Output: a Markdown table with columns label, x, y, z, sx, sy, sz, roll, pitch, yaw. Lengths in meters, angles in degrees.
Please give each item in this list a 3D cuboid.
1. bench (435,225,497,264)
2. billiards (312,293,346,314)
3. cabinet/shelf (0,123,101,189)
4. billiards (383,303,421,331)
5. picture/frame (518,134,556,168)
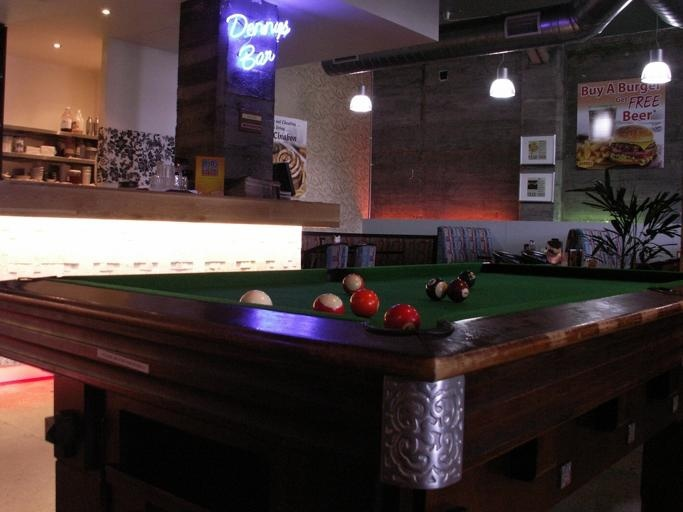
| label | x | y | z | sx | sy | sz | roll | pitch | yaw |
| --- | --- | --- | --- | --- | --- | --- | --- | --- | --- |
| bench | 1.950 | -0.211 | 7.626 | 0.212 | 0.569 | 1.133 | 15 | -3 | -23 |
| billiards | -0.043 | 0.134 | 1.383 | 0.066 | 0.061 | 0.061 | -7 | -24 | 0 |
| cabinet/shelf | -3.804 | -1.350 | 6.427 | 1.079 | 0.679 | 0.736 | 1 | 9 | -27 |
| billiards | 0.134 | 0.131 | 1.057 | 0.058 | 0.056 | 0.065 | 0 | 9 | -17 |
| picture/frame | 3.377 | -1.833 | 8.405 | 0.633 | 0.562 | 0.065 | 2 | -2 | 38 |
